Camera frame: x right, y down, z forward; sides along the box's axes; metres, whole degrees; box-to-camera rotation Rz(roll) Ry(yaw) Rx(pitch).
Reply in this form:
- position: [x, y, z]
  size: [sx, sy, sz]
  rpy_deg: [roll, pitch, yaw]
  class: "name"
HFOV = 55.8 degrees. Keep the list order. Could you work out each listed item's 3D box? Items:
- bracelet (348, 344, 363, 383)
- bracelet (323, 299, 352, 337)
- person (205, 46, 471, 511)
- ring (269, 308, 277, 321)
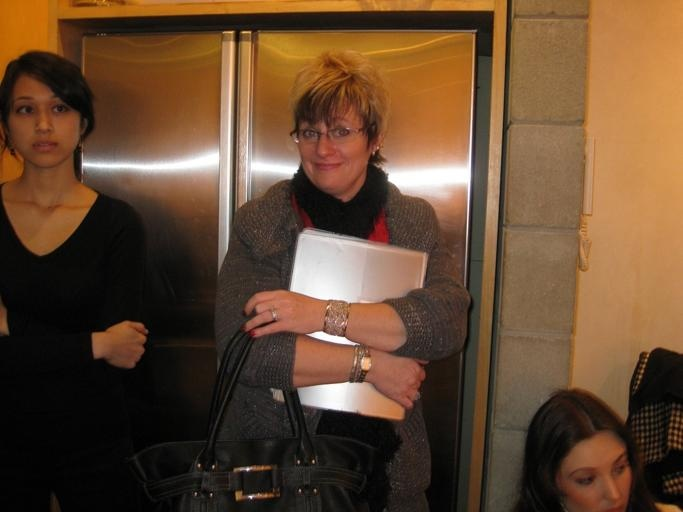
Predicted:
- position: [0.044, 0.314, 1.882]
  size: [0.034, 0.103, 0.024]
  rpy_deg: [4, 6, 1]
  class: "bracelet"
- position: [-0.013, 0.180, 1.923]
  size: [0.084, 0.118, 0.119]
  rpy_deg: [8, -8, 3]
  class: "bracelet"
- position: [0.001, 0.111, 2.011]
  size: [0.766, 1.457, 0.367]
  rpy_deg: [3, 6, -12]
  class: "person"
- position: [-0.193, 0.170, 1.842]
  size: [0.009, 0.027, 0.024]
  rpy_deg: [-6, 20, -20]
  class: "ring"
